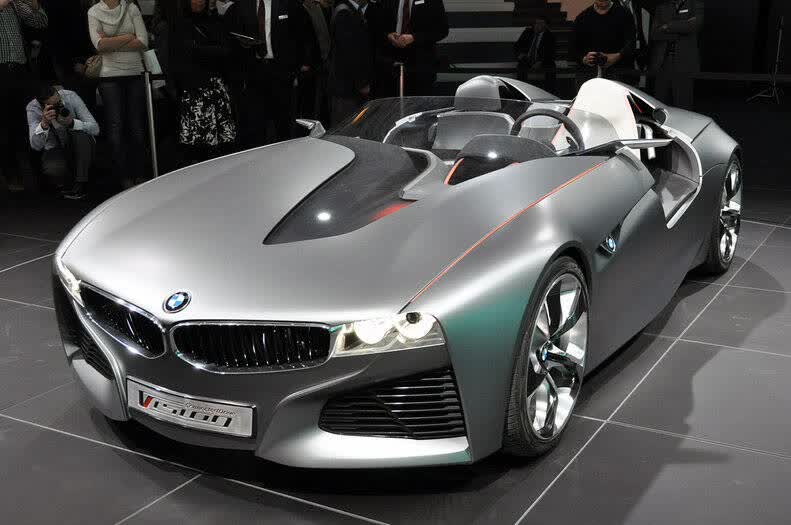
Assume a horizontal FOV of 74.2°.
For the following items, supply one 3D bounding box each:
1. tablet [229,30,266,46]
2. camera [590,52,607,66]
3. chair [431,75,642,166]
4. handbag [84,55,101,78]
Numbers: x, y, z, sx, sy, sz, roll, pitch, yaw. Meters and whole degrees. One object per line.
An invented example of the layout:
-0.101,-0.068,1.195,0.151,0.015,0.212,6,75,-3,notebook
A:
-1.795,-2.709,6.378,0.203,0.142,0.536,10,22,26,tablet
2.927,-2.876,7.438,0.150,0.088,0.224,-11,17,8,camera
0.874,-0.915,3.205,1.187,0.551,0.725,-11,31,-24,chair
-3.365,-2.155,5.783,0.115,0.198,0.261,9,-1,-3,handbag
